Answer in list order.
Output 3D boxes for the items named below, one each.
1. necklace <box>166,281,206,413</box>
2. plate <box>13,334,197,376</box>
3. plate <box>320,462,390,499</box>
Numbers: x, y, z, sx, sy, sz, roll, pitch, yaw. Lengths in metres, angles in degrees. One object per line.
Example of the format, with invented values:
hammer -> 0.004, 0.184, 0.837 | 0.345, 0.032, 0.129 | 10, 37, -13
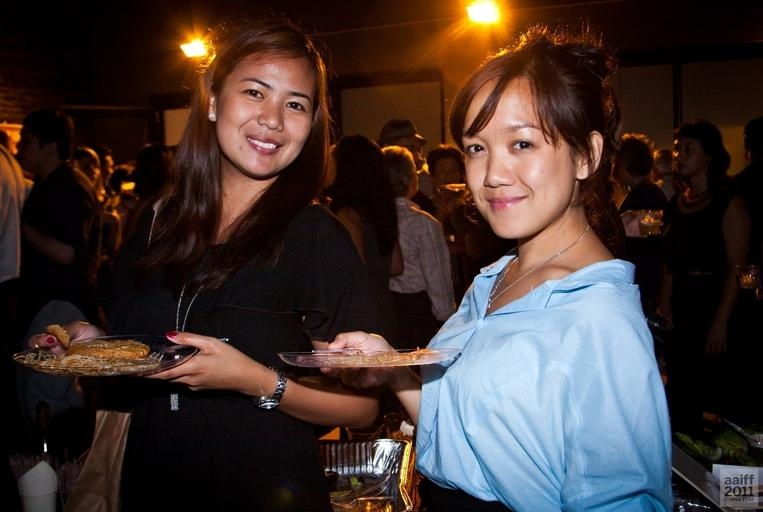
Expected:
necklace -> -0.845, 0.392, 2.526 | 0.148, 0.468, 0.020 | -6, -21, 26
plate -> -1.103, 0.418, 2.391 | 0.399, 0.045, 0.352 | -2, 3, -43
plate -> -0.139, 1.249, 3.253 | 0.381, 0.091, 0.266 | 1, -3, 4
